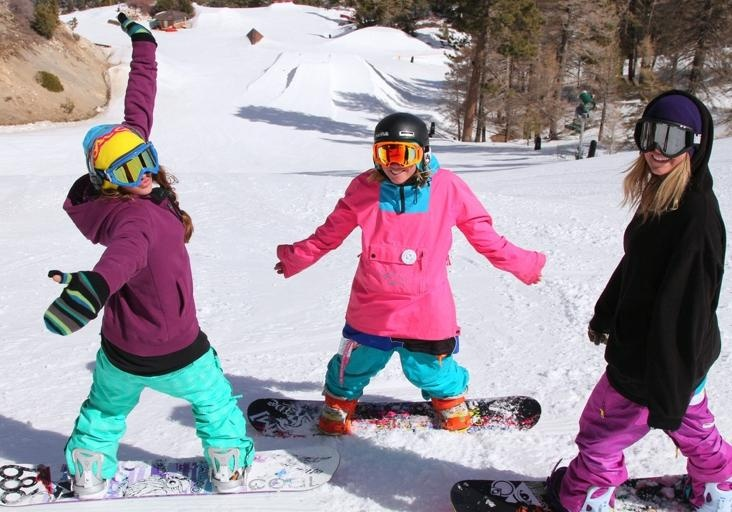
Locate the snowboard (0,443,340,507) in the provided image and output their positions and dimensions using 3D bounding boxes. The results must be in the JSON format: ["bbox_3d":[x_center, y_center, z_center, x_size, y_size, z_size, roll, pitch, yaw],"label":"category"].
[{"bbox_3d":[-1.494,1.691,5.036,2.882,0.118,0.538,-1,31,-7],"label":"snowboard"}]

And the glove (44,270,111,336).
[{"bbox_3d":[-1.721,0.283,3.931,0.363,0.450,0.196,-2,17,-20],"label":"glove"}]

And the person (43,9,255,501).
[{"bbox_3d":[-1.516,0.489,4.612,1.225,2.717,1.082,-2,17,-20],"label":"person"}]

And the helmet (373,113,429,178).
[{"bbox_3d":[0.288,-0.839,5.104,0.479,0.493,0.434,-11,19,-25],"label":"helmet"}]

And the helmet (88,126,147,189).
[{"bbox_3d":[-1.777,-0.687,4.602,0.354,0.299,0.481,-42,29,-24],"label":"helmet"}]

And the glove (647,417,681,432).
[{"bbox_3d":[1.944,1.092,4.324,0.168,0.097,0.113,-4,16,-7],"label":"glove"}]

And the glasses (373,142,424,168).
[{"bbox_3d":[0.227,-0.765,4.903,0.236,0.119,0.266,2,4,15],"label":"glasses"}]

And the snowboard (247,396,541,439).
[{"bbox_3d":[0.251,1.398,5.663,2.425,0.148,0.404,0,43,1],"label":"snowboard"}]

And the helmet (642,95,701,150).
[{"bbox_3d":[2.002,-0.890,4.416,0.300,0.332,0.330,6,0,18],"label":"helmet"}]

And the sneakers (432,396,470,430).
[{"bbox_3d":[0.722,1.339,5.698,0.286,0.236,0.336,-2,-2,-3],"label":"sneakers"}]

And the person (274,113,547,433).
[{"bbox_3d":[0.206,0.230,5.285,1.420,2.693,0.488,8,17,15],"label":"person"}]
